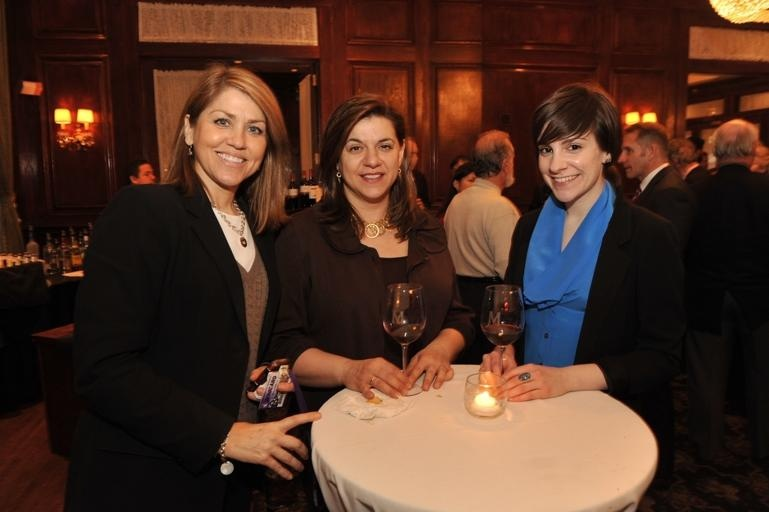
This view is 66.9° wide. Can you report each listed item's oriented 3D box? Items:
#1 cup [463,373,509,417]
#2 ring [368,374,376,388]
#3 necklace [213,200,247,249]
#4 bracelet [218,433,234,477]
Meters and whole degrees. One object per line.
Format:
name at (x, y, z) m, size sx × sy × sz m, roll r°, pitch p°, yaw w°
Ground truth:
cup at (0.437, 0.606, 2.536) m, size 0.170 × 0.153 × 0.174 m, roll 0°, pitch -11°, yaw 0°
ring at (-0.056, 0.586, 2.695) m, size 0.011 × 0.043 × 0.030 m, roll 15°, pitch 1°, yaw -22°
necklace at (-0.723, -0.130, 2.782) m, size 0.102 × 0.170 × 0.043 m, roll -15°, pitch -14°, yaw -43°
bracelet at (-0.686, 0.871, 2.504) m, size 0.053 × 0.237 × 0.109 m, roll -6°, pitch 12°, yaw -19°
